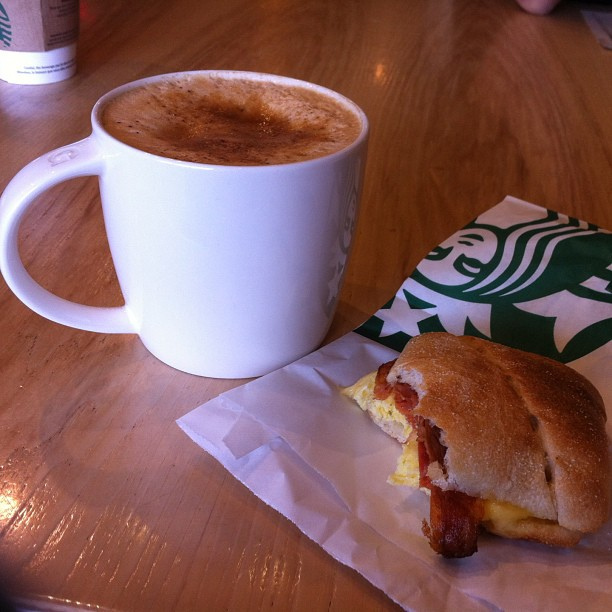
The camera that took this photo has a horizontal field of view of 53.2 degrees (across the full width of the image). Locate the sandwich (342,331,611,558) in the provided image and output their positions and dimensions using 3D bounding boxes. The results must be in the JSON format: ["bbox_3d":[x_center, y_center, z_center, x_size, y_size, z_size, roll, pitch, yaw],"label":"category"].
[{"bbox_3d":[0.123,0.105,0.477,0.163,0.055,0.139,14,48,8],"label":"sandwich"}]

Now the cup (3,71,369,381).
[{"bbox_3d":[-0.077,-0.085,0.547,0.244,0.226,0.271,12,50,7],"label":"cup"}]
